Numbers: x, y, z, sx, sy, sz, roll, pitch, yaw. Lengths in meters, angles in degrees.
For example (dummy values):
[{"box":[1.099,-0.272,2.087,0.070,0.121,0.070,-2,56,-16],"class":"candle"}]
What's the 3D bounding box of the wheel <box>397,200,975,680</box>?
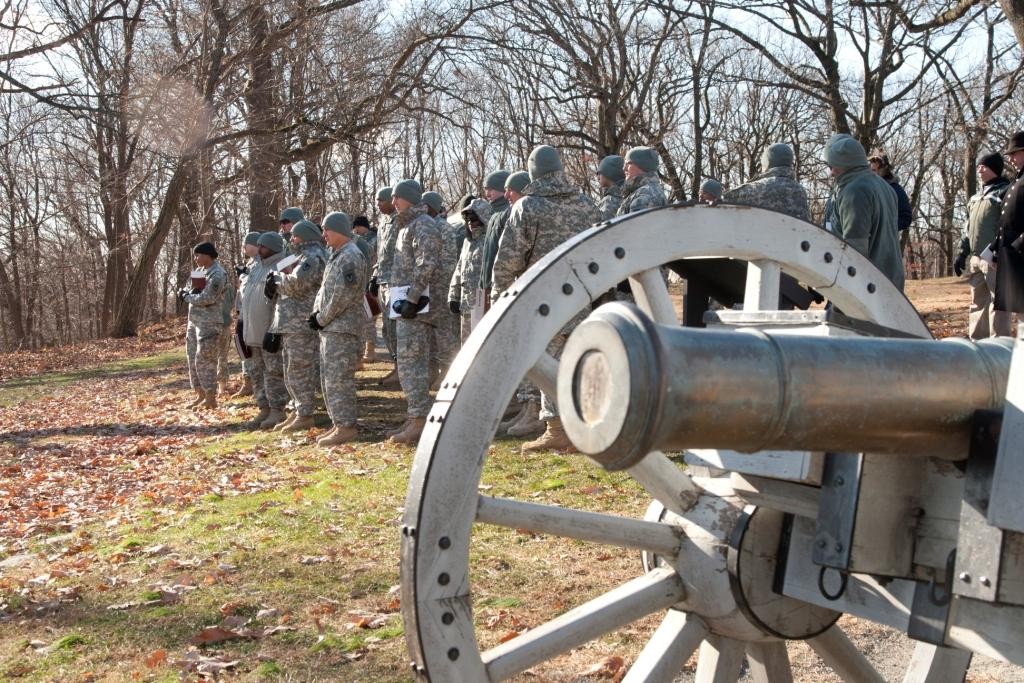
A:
[{"box":[0.842,0.526,4.722,2.595,2.634,0.351,19,-12,-19],"class":"wheel"}]
